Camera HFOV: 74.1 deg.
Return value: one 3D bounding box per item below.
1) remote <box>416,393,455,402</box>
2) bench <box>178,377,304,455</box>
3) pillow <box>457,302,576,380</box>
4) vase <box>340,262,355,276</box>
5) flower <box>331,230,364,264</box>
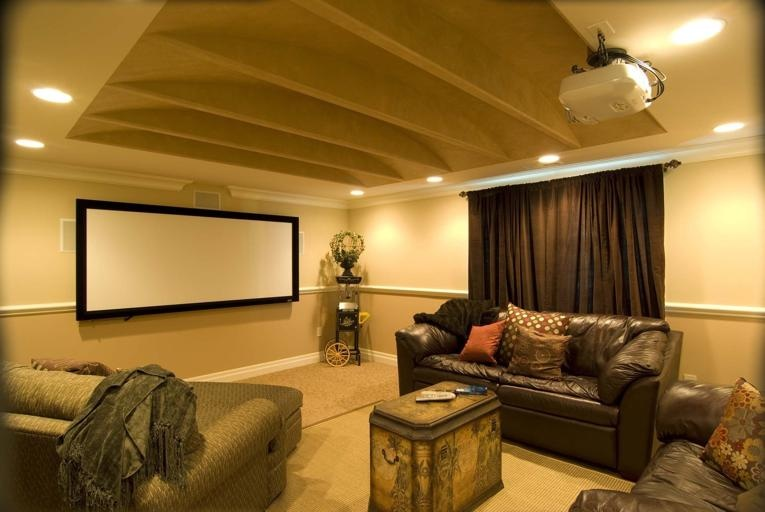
[{"bbox_3d":[0.415,1.096,3.956,0.185,0.045,0.114,-1,-5,4],"label":"remote"},{"bbox_3d":[-1.160,1.568,4.436,0.890,0.436,0.638,-1,-2,38],"label":"bench"},{"bbox_3d":[1.387,0.815,5.022,0.745,0.232,0.691,-4,40,47],"label":"pillow"},{"bbox_3d":[-0.506,0.182,7.163,0.194,0.182,0.190,-1,1,-11],"label":"vase"},{"bbox_3d":[-0.518,-0.125,7.324,0.509,0.440,0.675,-2,-1,-3],"label":"flower"}]
